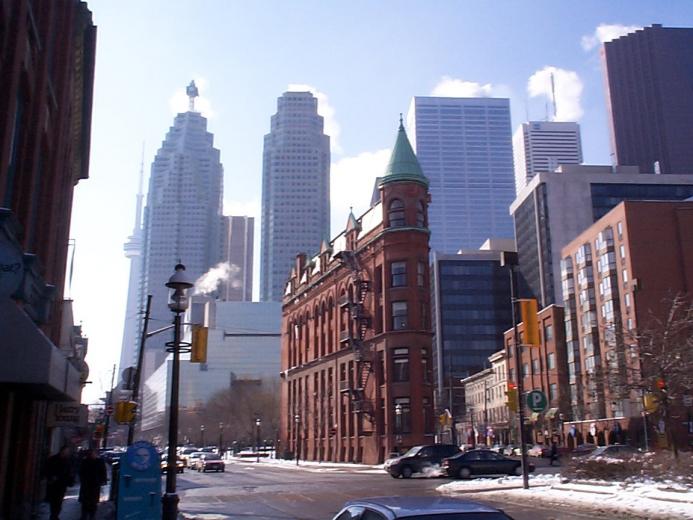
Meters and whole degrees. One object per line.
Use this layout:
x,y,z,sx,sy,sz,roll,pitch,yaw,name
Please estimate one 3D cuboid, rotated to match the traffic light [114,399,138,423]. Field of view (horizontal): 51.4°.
-8.753,6.012,28.498,0.583,0.847,1.207,1,-20,-7,traffic light
